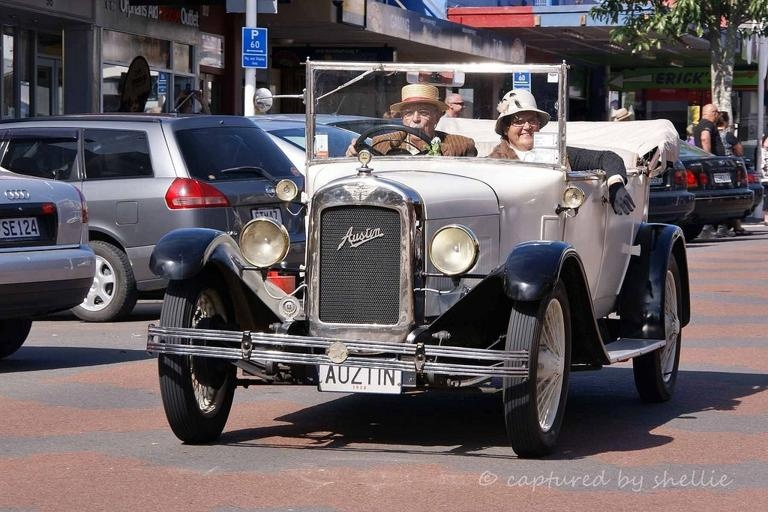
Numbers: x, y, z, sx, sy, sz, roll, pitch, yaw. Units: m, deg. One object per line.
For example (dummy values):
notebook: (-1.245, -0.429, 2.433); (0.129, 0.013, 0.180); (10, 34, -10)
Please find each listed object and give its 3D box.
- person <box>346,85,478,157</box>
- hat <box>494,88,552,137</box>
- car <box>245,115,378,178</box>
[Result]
person: (0.288, -1.103, 8.240); (0.619, 0.366, 0.894); (0, -2, 19)
hat: (1.082, -1.211, 8.063); (0.314, 0.203, 0.371); (-14, -24, 28)
car: (-0.972, -1.535, 13.578); (2.115, 0.737, 0.997); (6, 8, 44)
